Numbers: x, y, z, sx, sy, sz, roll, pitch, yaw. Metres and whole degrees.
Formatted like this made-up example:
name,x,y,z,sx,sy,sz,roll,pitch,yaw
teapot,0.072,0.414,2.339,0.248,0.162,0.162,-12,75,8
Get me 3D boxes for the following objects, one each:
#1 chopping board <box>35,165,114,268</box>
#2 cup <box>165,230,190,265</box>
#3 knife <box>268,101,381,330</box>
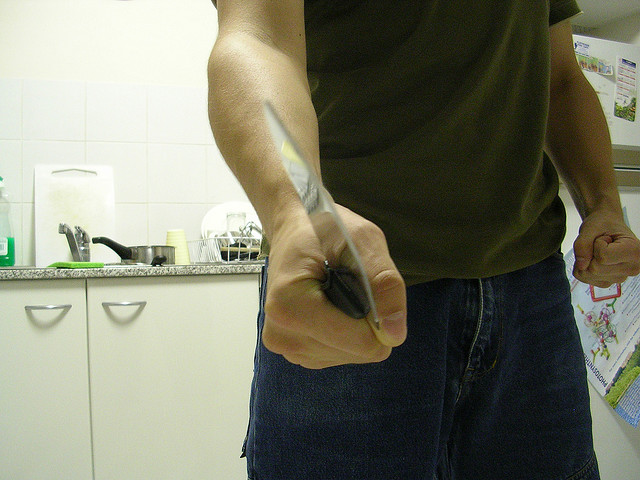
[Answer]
name,x,y,z,sx,sy,sz,roll,pitch,yaw
chopping board,-0.980,-0.065,2.272,0.312,0.563,0.059,0,-28,-20
cup,-0.561,0.023,2.252,0.089,0.144,0.096,0,21,0
knife,0.036,0.045,0.747,0.048,0.481,0.065,-37,49,-16
